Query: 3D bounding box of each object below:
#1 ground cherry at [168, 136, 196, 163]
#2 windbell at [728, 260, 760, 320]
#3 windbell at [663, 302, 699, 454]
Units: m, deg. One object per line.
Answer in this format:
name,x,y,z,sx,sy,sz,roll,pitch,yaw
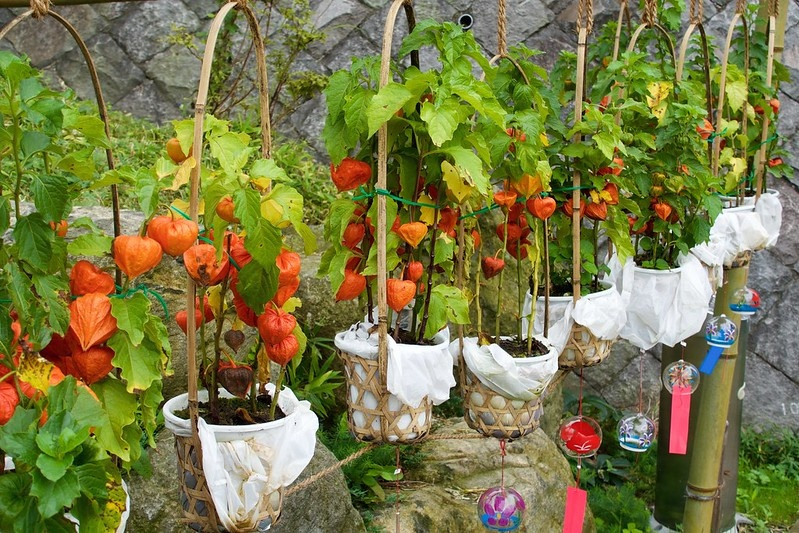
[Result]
ground cherry,-0.605,-0.324,2.670,0.056,0.067,0.064,-5,4,-14
windbell,1.326,0.104,3.738,0.139,0.185,0.144,4,9,15
windbell,1.070,0.478,3.669,0.117,0.397,0.743,2,1,17
